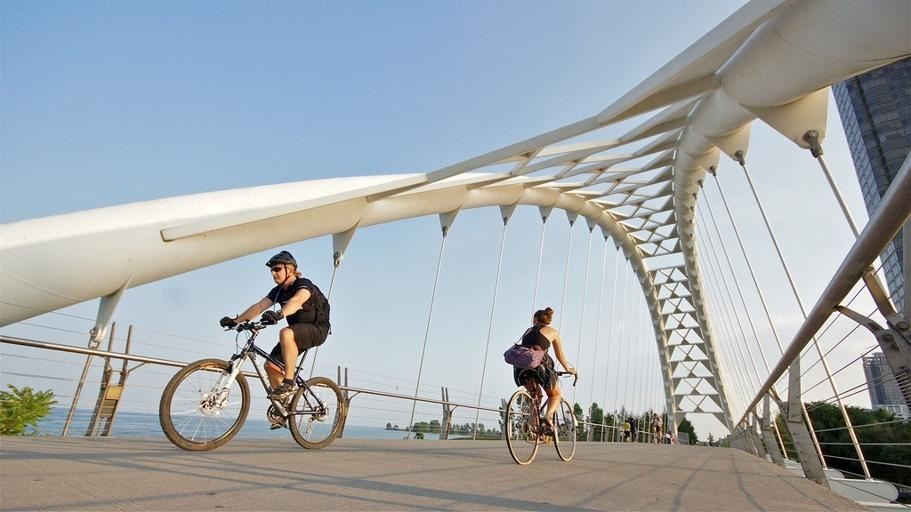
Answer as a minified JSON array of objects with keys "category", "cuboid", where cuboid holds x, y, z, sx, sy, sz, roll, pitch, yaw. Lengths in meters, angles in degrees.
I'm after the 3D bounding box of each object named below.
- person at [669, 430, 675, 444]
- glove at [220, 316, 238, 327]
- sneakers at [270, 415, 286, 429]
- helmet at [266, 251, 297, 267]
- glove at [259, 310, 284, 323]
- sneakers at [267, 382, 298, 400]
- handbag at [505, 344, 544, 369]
[{"category":"person","cuboid":[19.400,16.360,41.972,0.493,0.808,1.975,-8,-22,25]},{"category":"glove","cuboid":[-3.924,1.163,8.101,0.291,0.197,0.111,6,-22,-13]},{"category":"sneakers","cuboid":[-3.220,3.041,8.501,0.238,0.249,0.235,-1,-19,-15]},{"category":"helmet","cuboid":[-3.290,0.079,8.864,0.448,0.243,0.303,15,-16,-30]},{"category":"glove","cuboid":[-3.233,1.096,8.239,0.413,0.153,0.295,5,-13,-35]},{"category":"sneakers","cuboid":[-3.076,2.484,8.550,0.214,0.244,0.586,7,-3,35]},{"category":"handbag","cuboid":[1.395,2.056,9.566,0.835,0.494,0.270,-1,-22,7]}]
